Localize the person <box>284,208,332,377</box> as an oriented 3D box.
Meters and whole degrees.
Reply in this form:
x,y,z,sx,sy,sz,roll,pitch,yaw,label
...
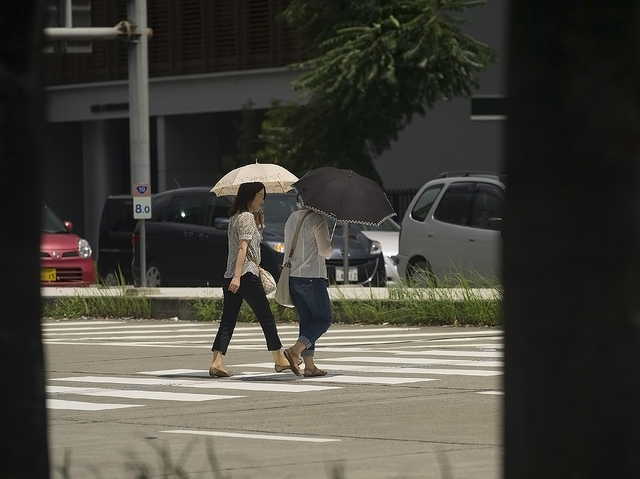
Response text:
x,y,z,sx,sy,sz,roll,pitch,yaw,label
-0.137,0.514,9.920,0.480,1.680,0.260,2,1,7,person

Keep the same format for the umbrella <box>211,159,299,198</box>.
x,y,z,sx,sy,sz,roll,pitch,yaw,label
-0.780,-0.771,11.914,1.031,0.473,1.165,0,-4,17,umbrella

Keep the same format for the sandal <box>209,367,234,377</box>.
x,y,z,sx,sy,sz,roll,pitch,yaw,label
-1.016,1.353,10.105,0.240,0.119,0.097,1,-2,-10,sandal

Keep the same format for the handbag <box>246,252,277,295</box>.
x,y,z,sx,sy,sz,roll,pitch,yaw,label
-0.622,0.341,10.319,0.312,0.439,0.276,2,1,-3,handbag

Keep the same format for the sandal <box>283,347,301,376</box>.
x,y,z,sx,sy,sz,roll,pitch,yaw,label
-0.282,1.209,9.950,0.127,0.359,0.110,-16,8,0,sandal

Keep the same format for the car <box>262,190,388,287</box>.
x,y,z,sx,sy,sz,roll,pitch,yaw,label
-0.028,-0.026,18.748,1.304,1.351,2.373,2,2,-32,car

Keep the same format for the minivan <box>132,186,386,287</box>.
x,y,z,sx,sy,sz,roll,pitch,yaw,label
-1.618,-0.015,19.131,4.095,2.116,2.352,-4,-3,36,minivan

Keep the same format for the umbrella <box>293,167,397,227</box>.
x,y,z,sx,sy,sz,roll,pitch,yaw,label
0.195,-0.468,10.088,0.690,0.295,0.680,38,26,30,umbrella

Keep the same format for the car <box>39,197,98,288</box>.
x,y,z,sx,sy,sz,roll,pitch,yaw,label
-5.133,0.150,20.144,0.998,1.589,2.516,1,1,-14,car

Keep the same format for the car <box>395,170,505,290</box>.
x,y,z,sx,sy,sz,roll,pitch,yaw,label
2.240,-0.203,16.253,1.345,1.530,2.307,1,-3,-42,car

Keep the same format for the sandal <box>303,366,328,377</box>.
x,y,z,sx,sy,sz,roll,pitch,yaw,label
-0.058,1.339,10.101,0.247,0.127,0.089,-2,1,-22,sandal
